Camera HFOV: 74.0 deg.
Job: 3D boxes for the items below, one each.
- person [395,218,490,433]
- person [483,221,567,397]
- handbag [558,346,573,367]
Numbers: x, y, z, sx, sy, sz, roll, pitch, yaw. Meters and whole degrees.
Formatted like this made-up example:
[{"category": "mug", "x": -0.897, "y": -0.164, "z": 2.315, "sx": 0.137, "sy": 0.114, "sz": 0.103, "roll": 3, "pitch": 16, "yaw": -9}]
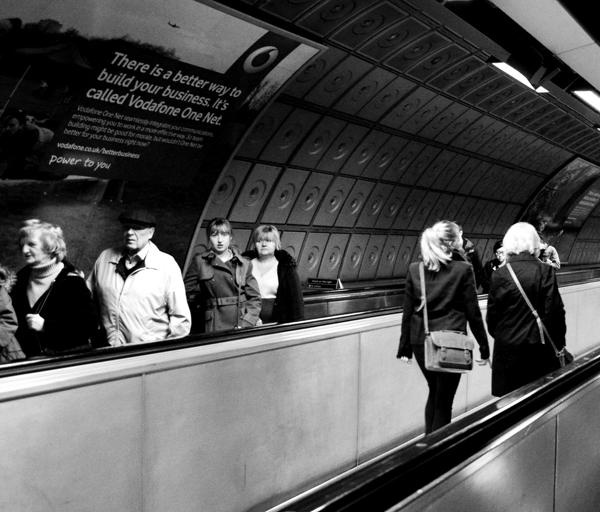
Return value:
[{"category": "person", "x": 1.295, "y": 0.684, "z": 3.672, "sx": 0.804, "sy": 2.027, "sz": 0.485, "roll": 1, "pitch": -1, "yaw": 14}, {"category": "person", "x": 2.182, "y": 0.561, "z": 3.905, "sx": 0.670, "sy": 1.802, "sz": 0.427, "roll": 0, "pitch": -1, "yaw": 35}, {"category": "handbag", "x": 2.549, "y": 0.967, "z": 3.844, "sx": 0.217, "sy": 0.151, "sz": 0.094, "roll": 1, "pitch": 0, "yaw": -44}]
